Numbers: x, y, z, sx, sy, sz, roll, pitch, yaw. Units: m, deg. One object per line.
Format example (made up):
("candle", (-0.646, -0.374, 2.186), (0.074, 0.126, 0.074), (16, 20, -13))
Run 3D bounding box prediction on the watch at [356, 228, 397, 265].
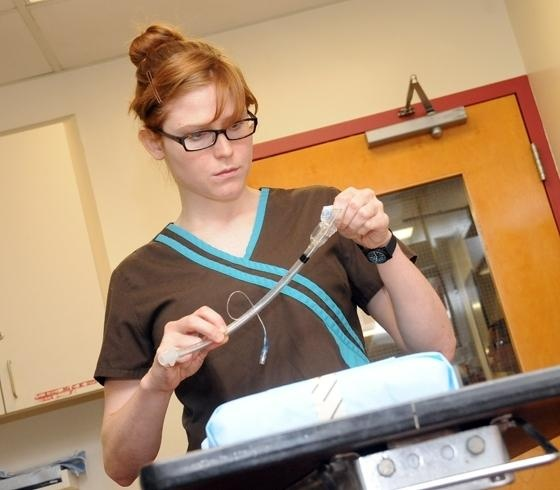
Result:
("watch", (0.175, -0.004, 0.925), (0.071, 0.064, 0.067), (7, -36, 4))
